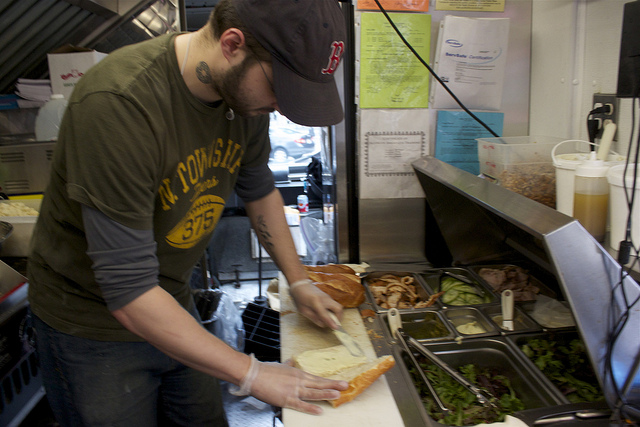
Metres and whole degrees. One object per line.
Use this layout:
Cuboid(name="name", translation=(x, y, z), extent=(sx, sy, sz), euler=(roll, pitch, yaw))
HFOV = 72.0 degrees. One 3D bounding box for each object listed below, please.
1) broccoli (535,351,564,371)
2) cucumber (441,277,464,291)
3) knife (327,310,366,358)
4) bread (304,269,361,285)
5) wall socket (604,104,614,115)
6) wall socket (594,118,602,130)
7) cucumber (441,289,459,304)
Cuboid(name="broccoli", translation=(0.884, 0.571, 1.696), extent=(0.071, 0.017, 0.058), euler=(4, 21, 0))
Cuboid(name="cucumber", translation=(0.656, 0.352, 2.208), extent=(0.076, 0.019, 0.077), euler=(-32, 28, -33))
Cuboid(name="knife", translation=(0.090, 0.478, 1.730), extent=(0.068, 0.018, 0.247), euler=(0, 18, -31))
Cuboid(name="bread", translation=(0.060, 0.295, 2.087), extent=(0.154, 0.031, 0.131), euler=(-2, 8, -25))
Cuboid(name="wall socket", translation=(1.203, -0.430, 1.821), extent=(0.046, 0.039, 0.036), euler=(0, 27, 25))
Cuboid(name="wall socket", translation=(1.184, -0.381, 1.861), extent=(0.026, 0.049, 0.036), euler=(3, 11, 35))
Cuboid(name="cucumber", translation=(0.631, 0.400, 2.128), extent=(0.053, 0.016, 0.084), euler=(-2, 24, 46))
